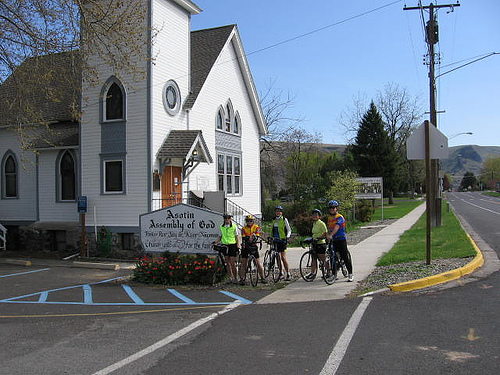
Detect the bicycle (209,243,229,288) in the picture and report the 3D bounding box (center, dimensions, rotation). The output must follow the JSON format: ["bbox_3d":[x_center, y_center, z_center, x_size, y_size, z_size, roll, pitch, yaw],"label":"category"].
[{"bbox_3d":[-0.955,2.312,15.045,0.611,1.290,0.755,-2,2,-6],"label":"bicycle"}]

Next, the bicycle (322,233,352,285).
[{"bbox_3d":[2.479,2.076,14.398,0.916,1.309,0.608,-4,3,-31],"label":"bicycle"}]

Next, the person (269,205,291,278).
[{"bbox_3d":[1.012,1.719,15.306,0.455,2.209,0.700,-4,3,-37],"label":"person"}]

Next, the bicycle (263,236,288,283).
[{"bbox_3d":[0.726,2.303,15.901,0.466,1.355,2.095,1,-2,-8],"label":"bicycle"}]

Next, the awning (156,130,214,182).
[{"bbox_3d":[-2.839,-1.510,21.758,1.423,2.191,2.740,3,0,23],"label":"awning"}]

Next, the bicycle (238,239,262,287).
[{"bbox_3d":[0.006,2.323,15.387,0.711,1.429,1.736,-2,2,-1],"label":"bicycle"}]
